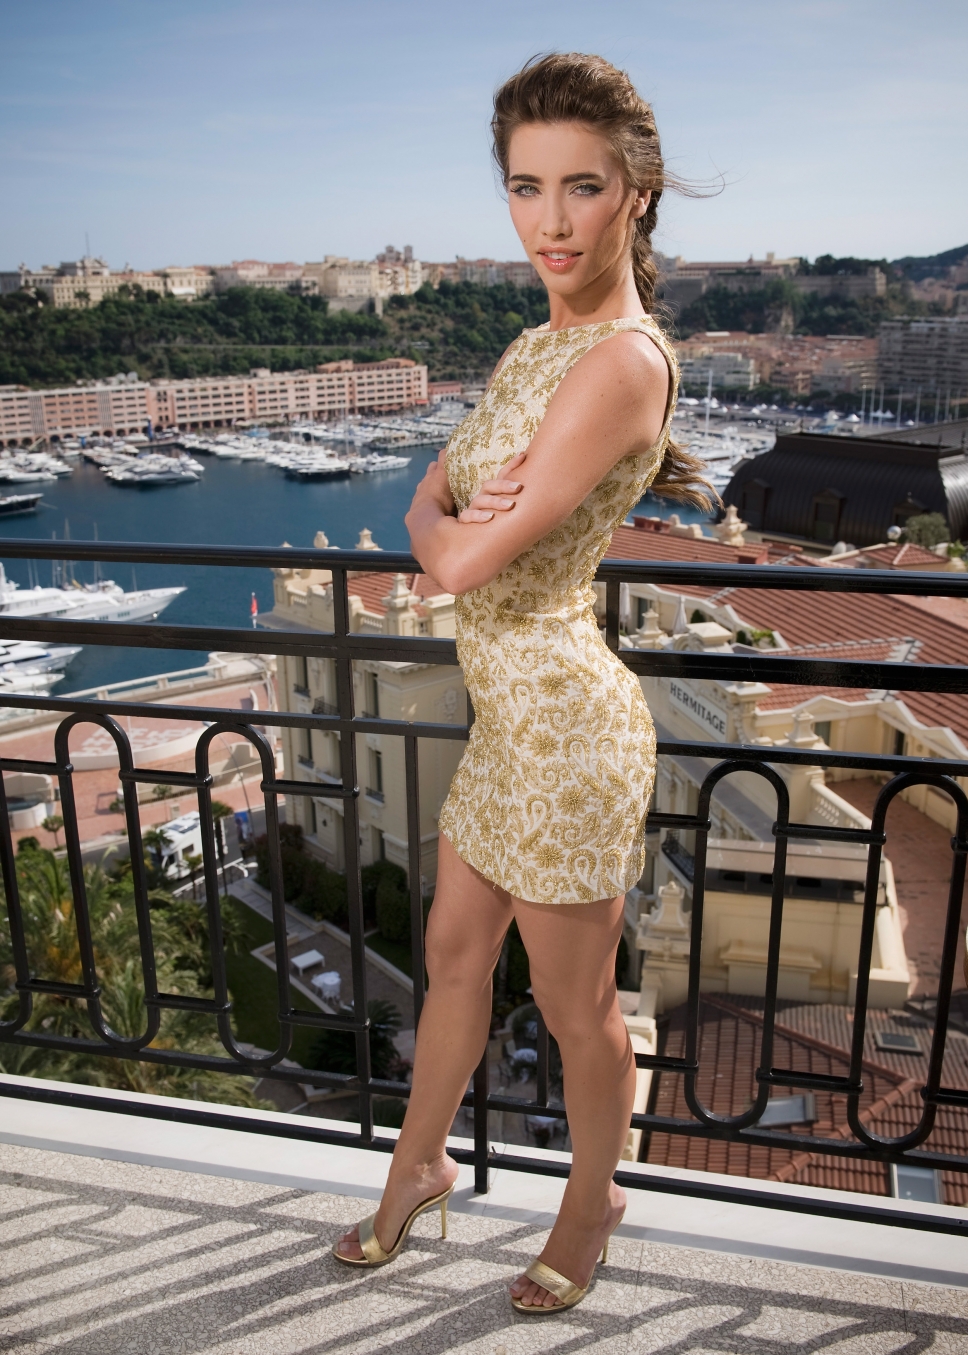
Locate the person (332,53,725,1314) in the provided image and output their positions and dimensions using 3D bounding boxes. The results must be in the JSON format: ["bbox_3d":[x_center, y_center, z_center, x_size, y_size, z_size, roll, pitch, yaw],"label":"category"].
[{"bbox_3d":[0.011,0.107,1.498,0.443,1.686,0.356,2,14,7],"label":"person"}]

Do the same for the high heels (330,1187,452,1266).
[{"bbox_3d":[-0.137,0.864,1.799,0.196,0.074,0.091,0,-1,-20],"label":"high heels"}]
